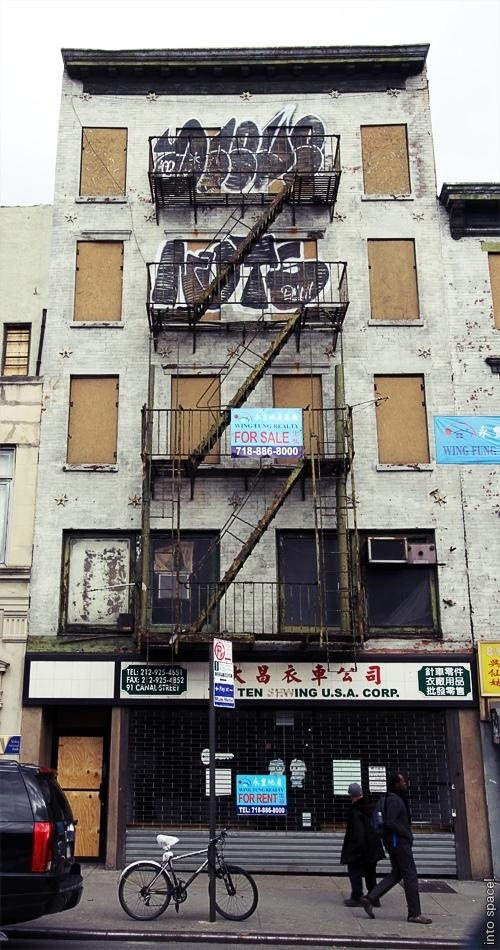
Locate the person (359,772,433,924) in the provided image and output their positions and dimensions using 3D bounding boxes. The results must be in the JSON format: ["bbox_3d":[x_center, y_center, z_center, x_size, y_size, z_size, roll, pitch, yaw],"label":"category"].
[{"bbox_3d":[1.658,4.335,10.763,0.721,1.635,0.822,-4,-18,7],"label":"person"}]

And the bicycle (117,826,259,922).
[{"bbox_3d":[-0.778,4.606,10.510,1.756,1.399,1.000,0,-14,-1],"label":"bicycle"}]

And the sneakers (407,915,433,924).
[{"bbox_3d":[1.900,4.967,10.377,0.273,0.154,0.112,-4,-9,10],"label":"sneakers"}]
